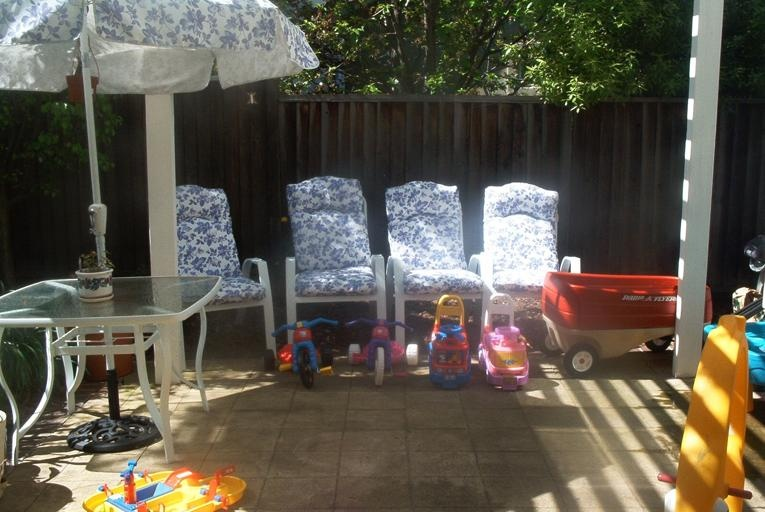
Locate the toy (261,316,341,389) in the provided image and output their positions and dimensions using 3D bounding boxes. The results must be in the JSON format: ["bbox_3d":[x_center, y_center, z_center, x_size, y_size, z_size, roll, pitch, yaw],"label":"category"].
[{"bbox_3d":[-0.656,0.819,5.161,0.392,0.363,0.641,-4,-11,0],"label":"toy"}]

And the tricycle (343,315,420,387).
[{"bbox_3d":[0.000,0.779,5.314,0.588,0.508,0.925,-2,3,4],"label":"tricycle"}]

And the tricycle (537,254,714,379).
[{"bbox_3d":[2.108,0.588,5.366,1.237,0.790,0.746,-4,0,0],"label":"tricycle"}]
